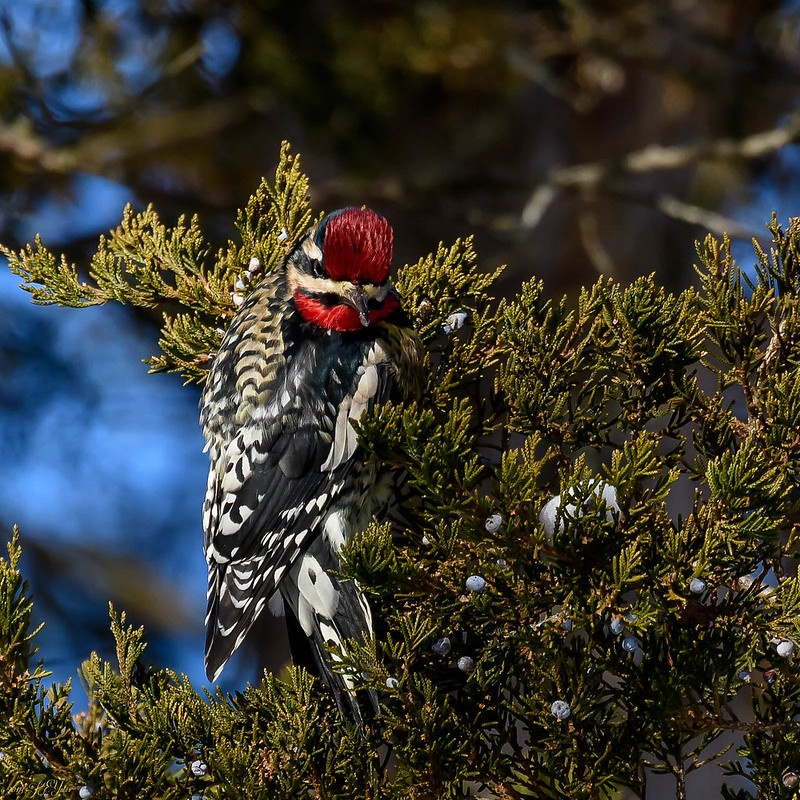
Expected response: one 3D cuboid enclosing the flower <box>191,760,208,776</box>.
[{"bbox_3d":[-0.371,0.674,3.033,0.027,0.015,0.028,-19,99,17],"label":"flower"}]
